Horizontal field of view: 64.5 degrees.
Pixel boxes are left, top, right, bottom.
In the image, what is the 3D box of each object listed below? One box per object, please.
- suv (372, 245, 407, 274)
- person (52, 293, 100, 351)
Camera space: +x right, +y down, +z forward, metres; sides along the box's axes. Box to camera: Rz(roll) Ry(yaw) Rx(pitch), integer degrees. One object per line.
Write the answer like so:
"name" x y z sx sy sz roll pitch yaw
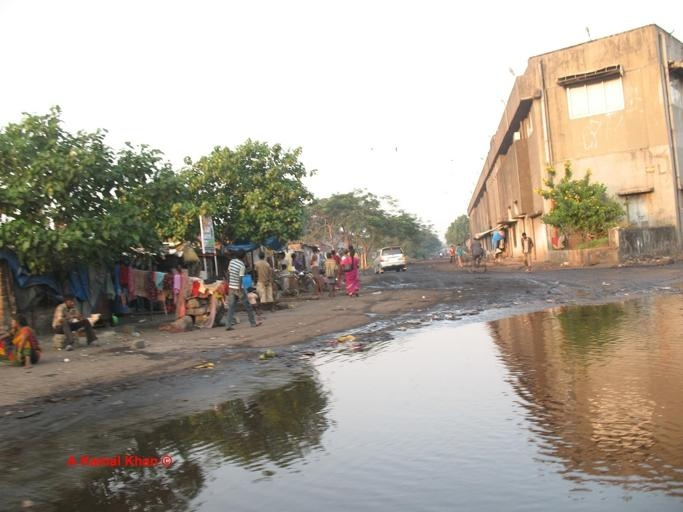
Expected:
"suv" 3.417 0.195 39.685 1.480 1.173 2.541 -1 9 -1
"person" -6.119 1.467 12.289 0.704 1.281 0.679 -3 2 42
